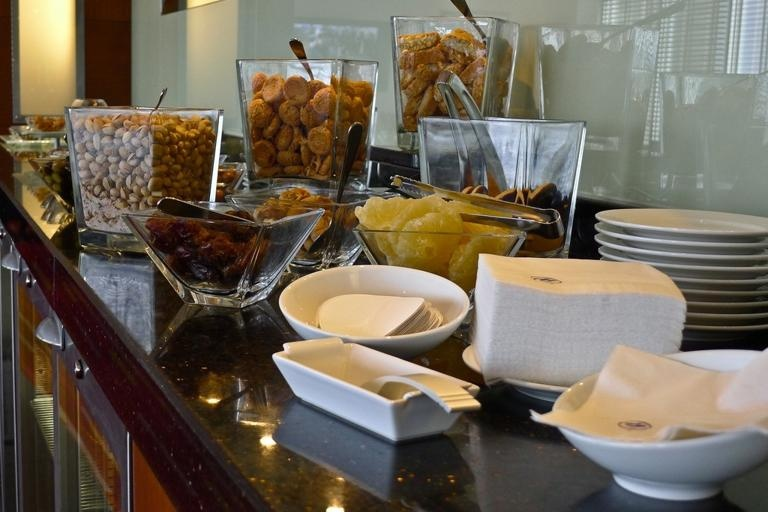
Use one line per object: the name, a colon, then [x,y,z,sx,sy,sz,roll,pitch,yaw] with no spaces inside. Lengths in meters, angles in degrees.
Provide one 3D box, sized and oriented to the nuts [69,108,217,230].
nuts: [-0.412,-0.120,0.999,0.208,0.200,0.206,-1,5,-35]
